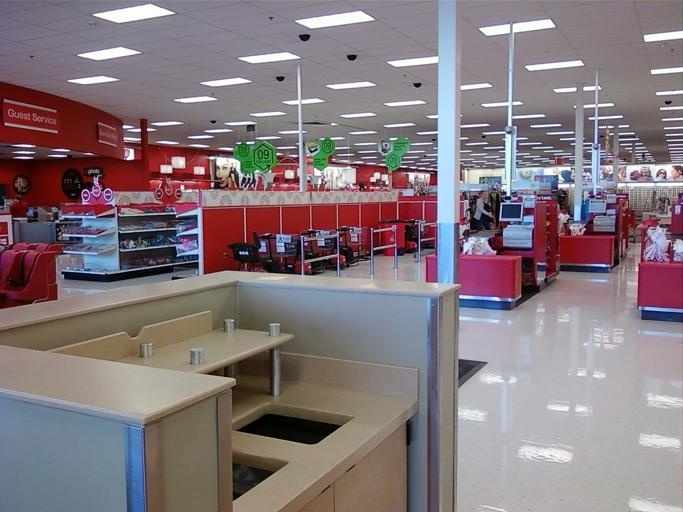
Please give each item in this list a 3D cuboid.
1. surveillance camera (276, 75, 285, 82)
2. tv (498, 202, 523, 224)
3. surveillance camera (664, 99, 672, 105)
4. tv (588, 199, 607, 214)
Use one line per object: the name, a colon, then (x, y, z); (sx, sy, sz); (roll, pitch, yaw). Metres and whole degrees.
surveillance camera: (-1.421, -4.094, 11.729); (0.114, 0.089, 0.098); (-7, 5, 1)
tv: (3.118, -0.798, 9.338); (0.389, 0.359, 0.139); (0, -1, 31)
surveillance camera: (9.406, -4.439, 14.682); (0.164, 0.046, 0.182); (-1, -2, 1)
tv: (6.834, -1.300, 13.640); (0.493, 0.481, 0.344); (0, 0, 34)
